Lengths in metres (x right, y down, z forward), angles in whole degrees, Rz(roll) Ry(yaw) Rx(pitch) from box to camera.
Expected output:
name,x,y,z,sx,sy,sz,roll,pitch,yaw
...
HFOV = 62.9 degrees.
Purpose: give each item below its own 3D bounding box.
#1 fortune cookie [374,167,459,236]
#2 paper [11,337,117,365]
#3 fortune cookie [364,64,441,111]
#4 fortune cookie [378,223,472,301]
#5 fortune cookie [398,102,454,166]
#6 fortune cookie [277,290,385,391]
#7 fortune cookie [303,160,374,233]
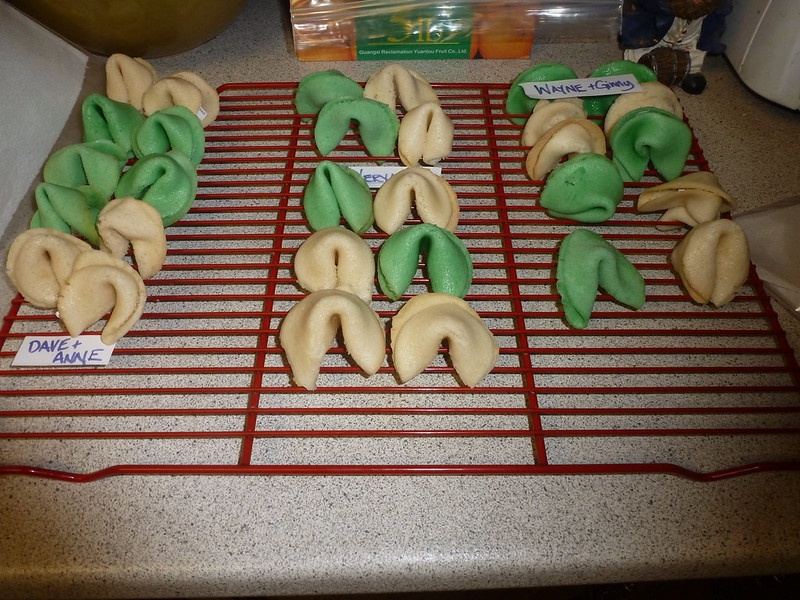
name,x,y,z,sx,sy,sz,roll,pitch,yaw
fortune cookie,0.026,-0.158,1.114,0.146,0.049,0.108,2,87,-2
paper,-0.514,0.075,0.952,0.149,0.005,0.046,3,77,-2
fortune cookie,0.008,-0.383,1.187,0.120,0.040,0.112,-20,44,-32
fortune cookie,0.038,-0.059,1.014,0.148,0.083,0.102,-1,60,2
fortune cookie,0.047,-0.282,1.144,0.116,0.042,0.104,2,98,-3
fortune cookie,-0.098,0.056,0.896,0.193,0.057,0.135,-9,79,-1
fortune cookie,-0.081,-0.184,1.068,0.040,0.121,0.104,-24,72,-42
